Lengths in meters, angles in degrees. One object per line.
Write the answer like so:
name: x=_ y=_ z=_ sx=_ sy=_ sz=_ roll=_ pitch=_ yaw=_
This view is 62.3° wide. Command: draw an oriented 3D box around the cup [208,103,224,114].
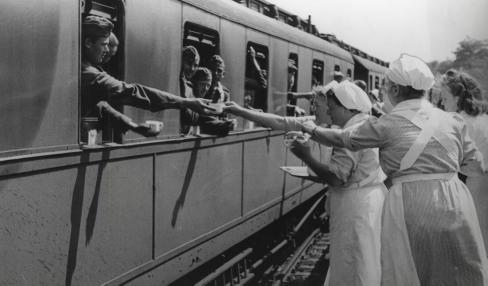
cup: x=-0.274 y=-0.357 z=4.056 sx=0.174 sy=0.110 sz=0.096 roll=1 pitch=4 yaw=-11

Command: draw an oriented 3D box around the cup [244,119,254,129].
cup: x=0.045 y=-0.200 z=4.319 sx=0.146 sy=0.096 sz=0.076 roll=-1 pitch=6 yaw=-36

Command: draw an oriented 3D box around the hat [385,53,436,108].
hat: x=1.415 y=-0.622 z=3.564 sx=0.360 sy=0.268 sz=0.353 roll=1 pitch=7 yaw=29

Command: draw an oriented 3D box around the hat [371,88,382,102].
hat: x=1.698 y=-0.653 z=5.268 sx=0.122 sy=0.120 sz=0.151 roll=6 pitch=4 yaw=12

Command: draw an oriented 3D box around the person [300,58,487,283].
person: x=1.477 y=0.278 z=3.494 sx=1.296 sy=1.998 sz=0.358 roll=3 pitch=5 yaw=12
